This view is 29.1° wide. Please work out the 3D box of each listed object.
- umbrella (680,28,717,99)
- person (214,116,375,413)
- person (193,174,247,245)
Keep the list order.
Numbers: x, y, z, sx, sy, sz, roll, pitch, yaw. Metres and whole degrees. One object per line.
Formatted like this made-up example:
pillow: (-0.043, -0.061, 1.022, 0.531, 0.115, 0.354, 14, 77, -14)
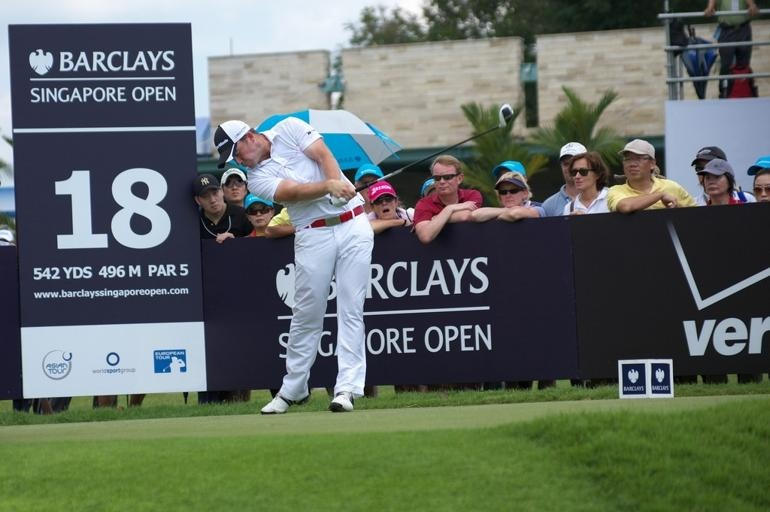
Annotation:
umbrella: (4.027, -2.503, 19.042, 0.386, 1.137, 0.478, 0, -1, 7)
person: (-0.808, -0.004, 14.710, 1.365, 2.988, 1.153, -9, -4, -7)
person: (-1.966, -0.484, 15.832, 0.365, 0.836, 1.076, 0, -1, -1)
